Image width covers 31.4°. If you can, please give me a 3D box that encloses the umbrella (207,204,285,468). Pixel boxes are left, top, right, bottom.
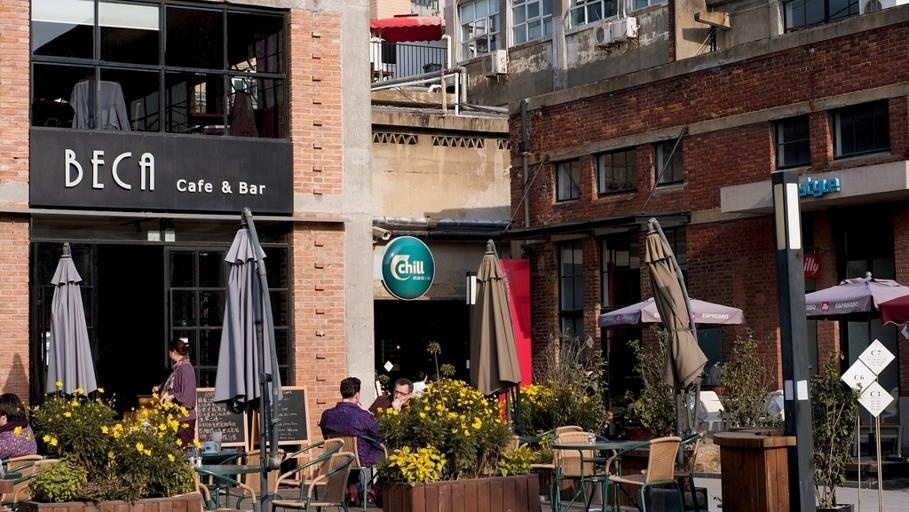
[{"bbox_3d":[-4.006,1.618,32.305,1.747,4.580,1.557,1,-1,-15],"label":"umbrella"}]

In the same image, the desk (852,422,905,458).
[{"bbox_3d":[10.157,4.456,38.517,1.183,0.788,1.633,-2,0,14],"label":"desk"}]

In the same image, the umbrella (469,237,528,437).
[{"bbox_3d":[1.083,1.915,35.327,1.251,3.977,1.312,-9,1,2],"label":"umbrella"}]

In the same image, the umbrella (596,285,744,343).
[{"bbox_3d":[5.669,1.531,41.497,3.993,1.426,1.678,-1,0,3],"label":"umbrella"}]

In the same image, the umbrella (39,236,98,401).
[{"bbox_3d":[-8.449,1.368,35.353,1.020,3.408,0.580,0,-9,-5],"label":"umbrella"}]

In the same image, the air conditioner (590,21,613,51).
[{"bbox_3d":[4.790,-7.141,52.098,0.429,0.968,1.065,2,-4,-24],"label":"air conditioner"}]

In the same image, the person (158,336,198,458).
[{"bbox_3d":[-6.141,3.344,35.843,0.948,2.773,1.185,-2,10,-14],"label":"person"}]

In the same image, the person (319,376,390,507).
[{"bbox_3d":[-2.132,3.971,34.172,1.194,2.782,0.957,0,-4,-6],"label":"person"}]
